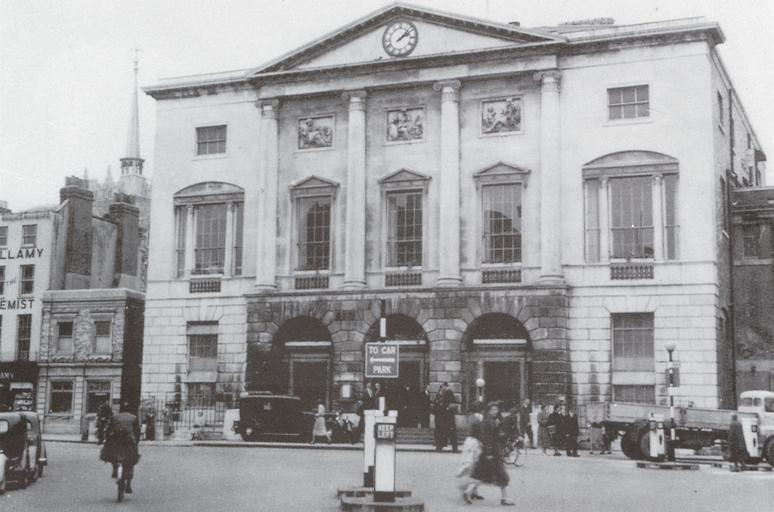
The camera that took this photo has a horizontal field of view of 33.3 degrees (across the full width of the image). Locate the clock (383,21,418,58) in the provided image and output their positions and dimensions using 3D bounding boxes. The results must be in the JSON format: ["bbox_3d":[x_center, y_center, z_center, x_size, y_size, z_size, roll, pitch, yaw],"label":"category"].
[{"bbox_3d":[0.922,-12.201,72.665,2.393,2.153,0.249,0,4,22],"label":"clock"}]

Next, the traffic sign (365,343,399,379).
[{"bbox_3d":[-0.138,3.949,48.728,1.570,1.398,0.152,-1,-1,4],"label":"traffic sign"}]

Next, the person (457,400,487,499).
[{"bbox_3d":[3.536,7.572,49.960,1.559,3.445,1.091,8,-15,-3],"label":"person"}]

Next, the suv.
[{"bbox_3d":[-4.765,8.362,67.546,6.606,2.338,2.261,-1,6,15],"label":"suv"}]

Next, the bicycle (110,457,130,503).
[{"bbox_3d":[-10.197,8.601,49.487,0.590,1.524,1.232,3,-8,-11],"label":"bicycle"}]
